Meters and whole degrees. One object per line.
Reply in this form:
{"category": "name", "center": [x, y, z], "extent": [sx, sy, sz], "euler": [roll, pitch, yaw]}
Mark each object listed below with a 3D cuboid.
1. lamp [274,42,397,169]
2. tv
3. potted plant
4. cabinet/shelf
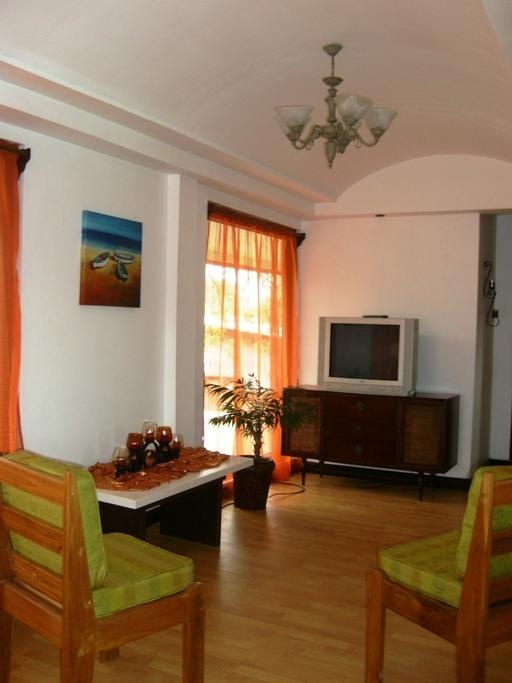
{"category": "lamp", "center": [0.345, -1.063, 2.483], "extent": [0.578, 0.536, 0.533], "euler": [-9, 18, -29]}
{"category": "tv", "center": [0.997, 0.103, 5.003], "extent": [1.092, 0.951, 0.593], "euler": [1, -2, 29]}
{"category": "potted plant", "center": [0.058, 0.792, 4.190], "extent": [0.894, 0.903, 0.695], "euler": [11, -18, -38]}
{"category": "cabinet/shelf", "center": [0.969, 0.885, 4.816], "extent": [1.419, 0.859, 0.459], "euler": [0, -5, 28]}
